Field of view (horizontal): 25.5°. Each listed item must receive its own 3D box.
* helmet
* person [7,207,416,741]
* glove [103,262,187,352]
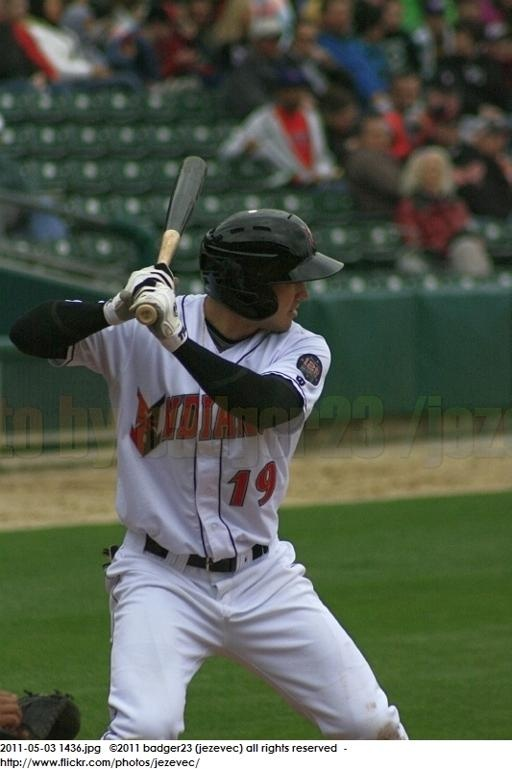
[{"bbox_3d":[0.064,-0.256,2.404,0.326,0.204,0.221,3,10,11],"label":"helmet"},{"bbox_3d":[-0.110,0.187,2.381,0.711,1.089,0.594,-4,14,-15],"label":"person"},{"bbox_3d":[-0.200,-0.156,2.226,0.189,0.161,0.061,-3,-16,35],"label":"glove"}]
